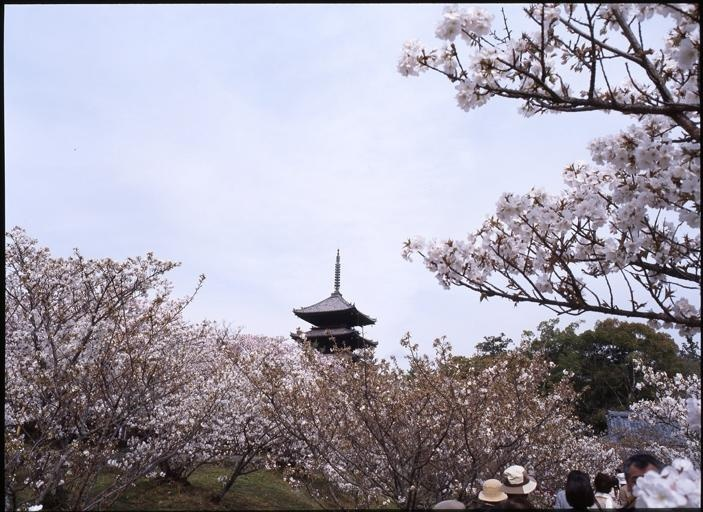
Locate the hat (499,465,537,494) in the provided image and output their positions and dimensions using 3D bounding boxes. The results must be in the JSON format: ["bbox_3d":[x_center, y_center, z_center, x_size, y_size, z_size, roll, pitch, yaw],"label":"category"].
[{"bbox_3d":[2.756,3.782,14.623,0.473,0.265,0.471,-32,15,-32],"label":"hat"}]

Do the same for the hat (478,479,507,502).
[{"bbox_3d":[2.326,3.902,14.566,0.321,0.154,0.342,-3,-4,-10],"label":"hat"}]
